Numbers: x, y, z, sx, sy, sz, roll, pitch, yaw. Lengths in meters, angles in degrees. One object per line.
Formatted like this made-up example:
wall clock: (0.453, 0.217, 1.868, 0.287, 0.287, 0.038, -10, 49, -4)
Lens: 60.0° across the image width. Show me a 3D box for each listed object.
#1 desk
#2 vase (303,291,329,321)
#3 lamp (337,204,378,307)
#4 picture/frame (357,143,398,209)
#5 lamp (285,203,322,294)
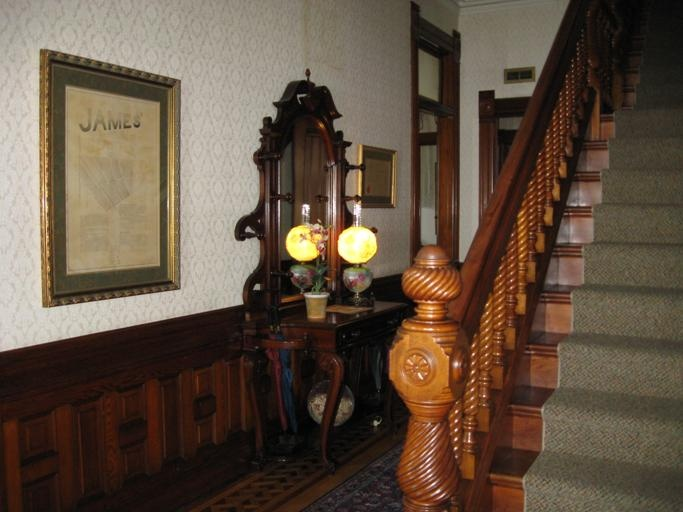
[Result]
desk: (-0.008, 0.846, 4.354, 0.564, 0.909, 1.361, 4, 4, 27)
vase: (-0.176, 0.329, 3.960, 0.154, 0.155, 0.163, 0, 0, 22)
lamp: (0.111, -0.027, 4.406, 0.258, 0.801, 0.270, -3, 8, -22)
picture/frame: (0.317, -0.719, 5.291, 0.032, 0.512, 0.614, 12, 9, 33)
lamp: (-0.255, -0.040, 4.094, 0.329, 0.615, 0.356, 1, 9, -1)
